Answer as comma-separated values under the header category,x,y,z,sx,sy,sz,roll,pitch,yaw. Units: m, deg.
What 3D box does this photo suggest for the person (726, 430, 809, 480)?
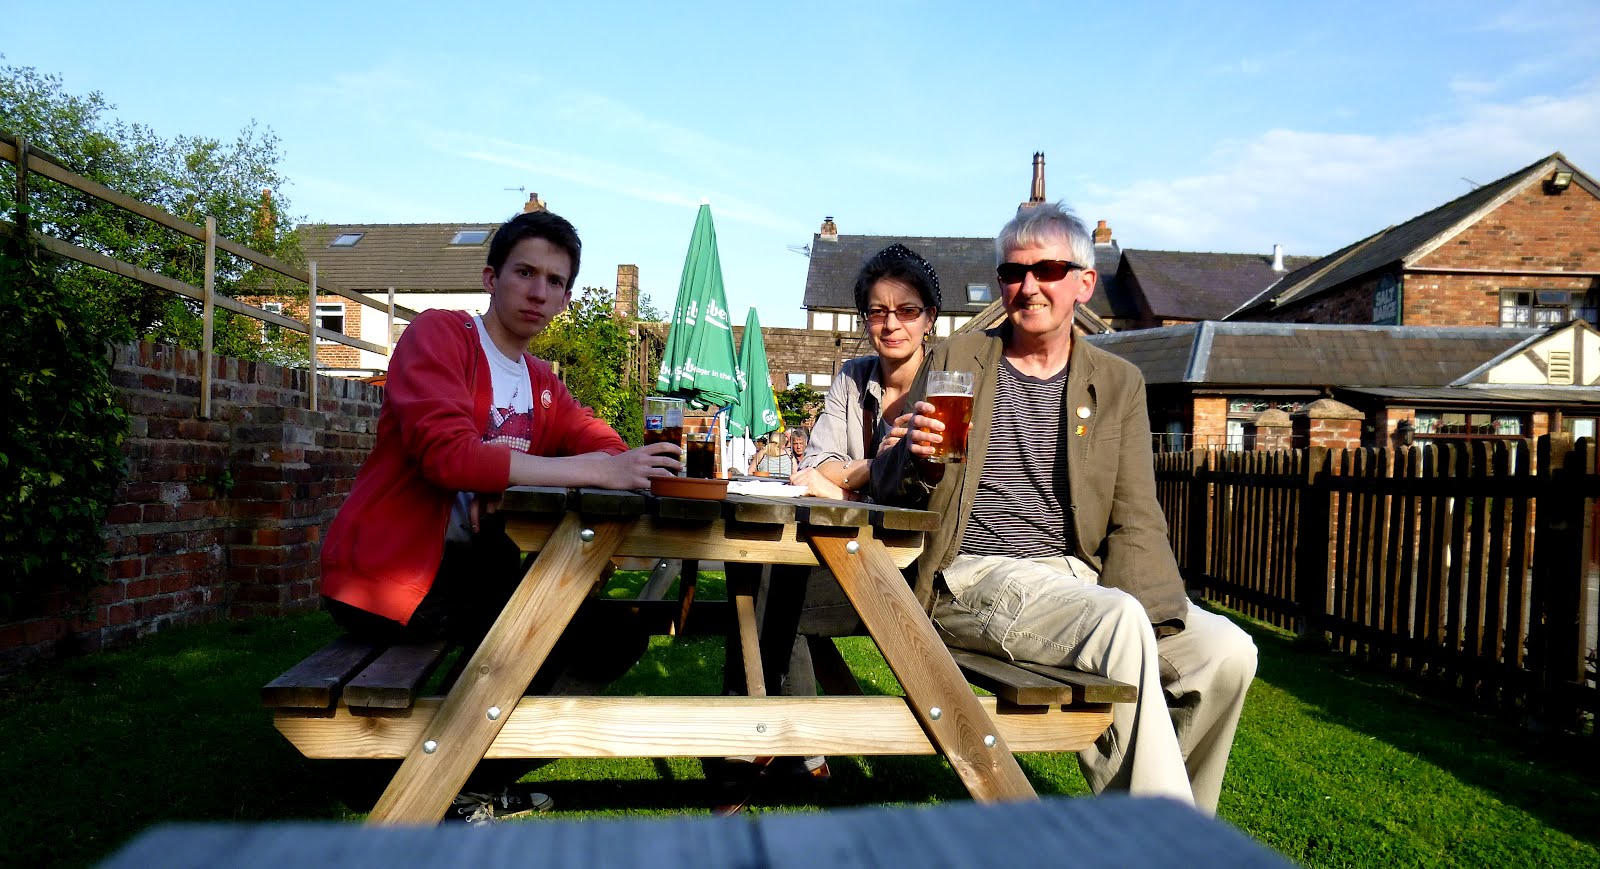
category,x,y,z,sx,sy,sz,roll,pitch,yaw
person,-0.366,0.268,12.492,0.668,0.826,0.887,-1,-8,11

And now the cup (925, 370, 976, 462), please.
category,x,y,z,sx,sy,sz,roll,pitch,yaw
cup,0.767,-0.089,4.948,0.223,0.459,0.128,-1,7,0

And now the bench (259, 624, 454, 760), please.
category,x,y,z,sx,sy,sz,roll,pitch,yaw
bench,-2.123,1.248,4.678,0.662,0.152,0.656,2,26,-6

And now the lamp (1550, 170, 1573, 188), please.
category,x,y,z,sx,sy,sz,roll,pitch,yaw
lamp,21.102,-7.028,26.892,0.527,0.443,0.492,0,14,13

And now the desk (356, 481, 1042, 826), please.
category,x,y,z,sx,sy,sz,roll,pitch,yaw
desk,-0.520,1.112,5.013,2.095,0.943,1.974,1,-3,-6

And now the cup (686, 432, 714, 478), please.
category,x,y,z,sx,sy,sz,roll,pitch,yaw
cup,-0.501,0.103,4.949,0.208,0.185,0.320,1,-7,-3

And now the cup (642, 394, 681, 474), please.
category,x,y,z,sx,sy,sz,roll,pitch,yaw
cup,-0.708,-0.007,5.035,0.170,0.373,0.277,-5,8,-31
